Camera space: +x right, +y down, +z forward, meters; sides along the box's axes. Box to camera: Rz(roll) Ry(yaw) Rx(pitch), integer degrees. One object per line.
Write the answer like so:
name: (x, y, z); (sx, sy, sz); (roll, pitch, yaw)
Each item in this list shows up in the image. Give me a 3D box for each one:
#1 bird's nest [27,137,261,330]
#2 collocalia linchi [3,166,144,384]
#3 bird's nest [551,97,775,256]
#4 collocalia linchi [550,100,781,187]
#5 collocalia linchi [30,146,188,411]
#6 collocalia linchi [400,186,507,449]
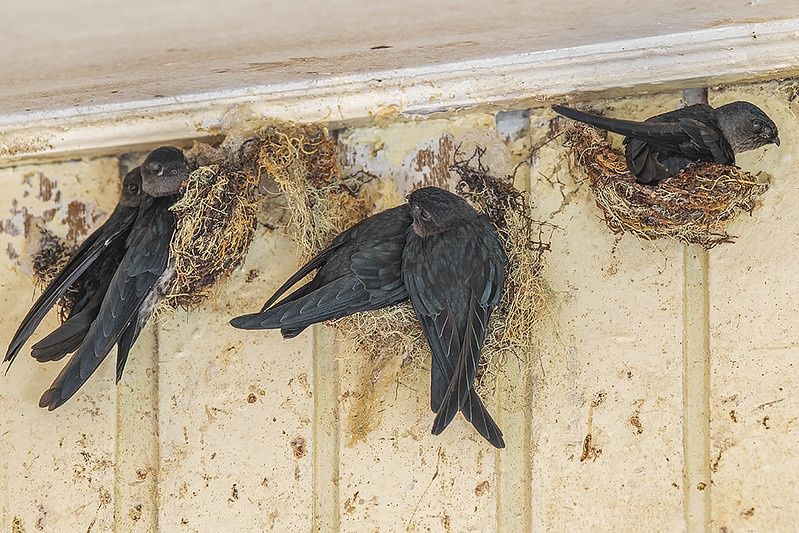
bird's nest: (-0.612, -0.123, 3.593); (0.443, 0.523, 0.226); (24, -4, 11)
collocalia linchi: (-0.911, 0.049, 3.792); (0.172, 0.588, 0.334); (36, -10, 19)
bird's nest: (0.712, -0.260, 3.669); (0.569, 0.207, 0.382); (17, 9, -1)
collocalia linchi: (0.774, -0.341, 3.697); (0.694, 0.232, 0.188); (8, 4, 3)
collocalia linchi: (-0.807, 0.066, 3.772); (0.228, 0.696, 0.414); (23, -6, 33)
collocalia linchi: (0.148, 0.143, 3.648); (0.316, 0.670, 0.321); (4, -6, 0)
